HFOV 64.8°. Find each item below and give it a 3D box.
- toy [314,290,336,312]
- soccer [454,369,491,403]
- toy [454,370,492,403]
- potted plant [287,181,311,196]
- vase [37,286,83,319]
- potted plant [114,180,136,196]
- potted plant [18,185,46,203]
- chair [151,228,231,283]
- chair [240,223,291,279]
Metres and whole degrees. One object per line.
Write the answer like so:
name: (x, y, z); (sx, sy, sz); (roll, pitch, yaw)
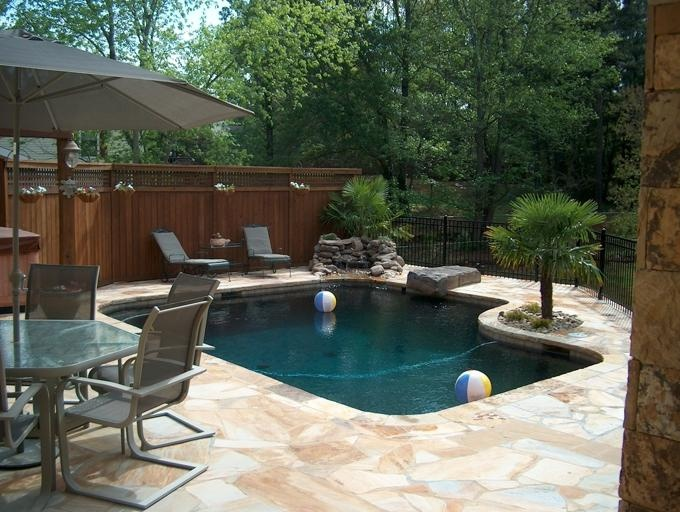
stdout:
toy: (-0.288, 0.925, 11.179); (0.454, 0.468, 0.430); (-2, 12, 3)
soccer: (1.637, 1.648, 6.573); (0.410, 0.383, 0.375); (2, 5, 11)
toy: (1.636, 1.576, 6.684); (0.424, 0.388, 0.417); (4, 1, 29)
potted plant: (-1.159, -2.017, 15.701); (0.591, 0.438, 0.599); (1, 5, -5)
vase: (-2.921, 0.508, 5.633); (0.429, 0.364, 0.421); (-2, 9, -37)
potted plant: (-5.019, -1.618, 12.634); (0.393, 0.227, 0.372); (0, 0, -5)
potted plant: (-5.587, -1.145, 9.800); (0.366, 0.139, 0.344); (-1, -1, -10)
chair: (-3.527, -0.046, 12.875); (1.748, 0.906, 0.996); (8, 9, 15)
chair: (-1.945, -0.168, 14.149); (0.916, 1.169, 1.439); (-5, 11, -38)
